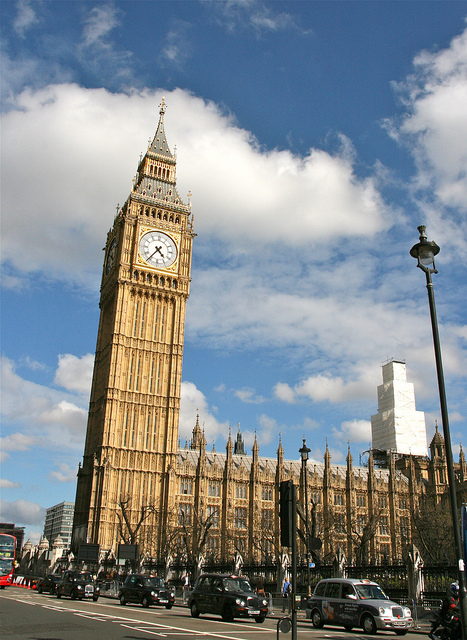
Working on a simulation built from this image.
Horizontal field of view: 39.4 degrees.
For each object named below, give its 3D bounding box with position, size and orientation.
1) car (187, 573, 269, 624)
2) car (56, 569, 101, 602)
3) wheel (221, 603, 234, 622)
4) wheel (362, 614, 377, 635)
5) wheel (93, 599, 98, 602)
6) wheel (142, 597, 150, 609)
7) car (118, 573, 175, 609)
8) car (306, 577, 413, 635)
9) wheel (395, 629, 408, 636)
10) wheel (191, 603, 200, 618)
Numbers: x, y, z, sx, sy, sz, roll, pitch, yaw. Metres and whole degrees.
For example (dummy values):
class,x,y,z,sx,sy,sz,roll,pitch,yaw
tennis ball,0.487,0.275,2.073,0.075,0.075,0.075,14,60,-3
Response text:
class,x,y,z,sx,sy,sz,roll,pitch,yaw
car,-0.262,10.277,24.214,1.619,1.555,3.460,15,-23,-30
car,-8.060,13.627,33.785,1.538,1.329,2.928,20,-37,-26
wheel,-0.197,10.412,23.308,0.348,0.624,0.734,8,-20,-13
wheel,4.277,9.569,20.631,0.271,0.540,0.683,15,-22,-28
wheel,-6.869,13.838,32.352,0.204,0.150,0.189,0,-25,0
wheel,-3.988,12.784,29.649,0.336,0.437,0.745,5,-20,-5
car,-4.075,12.624,30.523,1.518,1.349,3.185,14,-22,-28
car,4.184,9.563,21.903,1.206,1.609,4.083,12,-21,-23
wheel,5.183,9.697,20.325,0.270,0.183,0.536,-12,-24,37
wheel,-1.458,11.062,24.934,0.223,0.602,0.606,7,-11,-24
